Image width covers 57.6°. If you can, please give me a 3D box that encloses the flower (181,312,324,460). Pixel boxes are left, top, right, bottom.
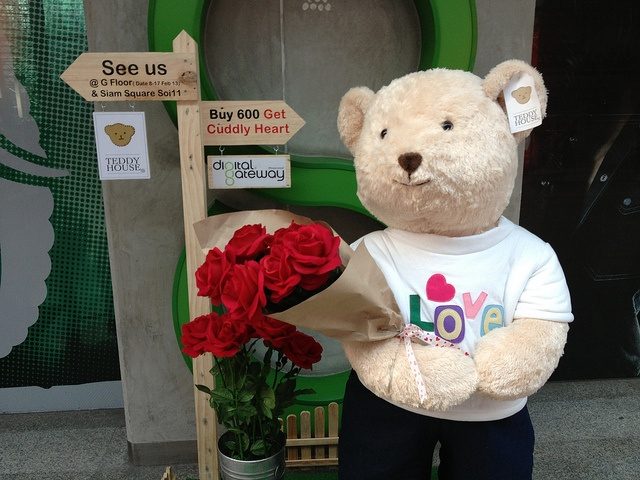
[{"bbox_3d":[-0.320,0.684,2.637,0.498,0.647,0.535,2,1,19],"label":"flower"}]

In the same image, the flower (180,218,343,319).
[{"bbox_3d":[-0.198,0.114,2.310,0.588,0.330,0.348,-8,32,-12],"label":"flower"}]
